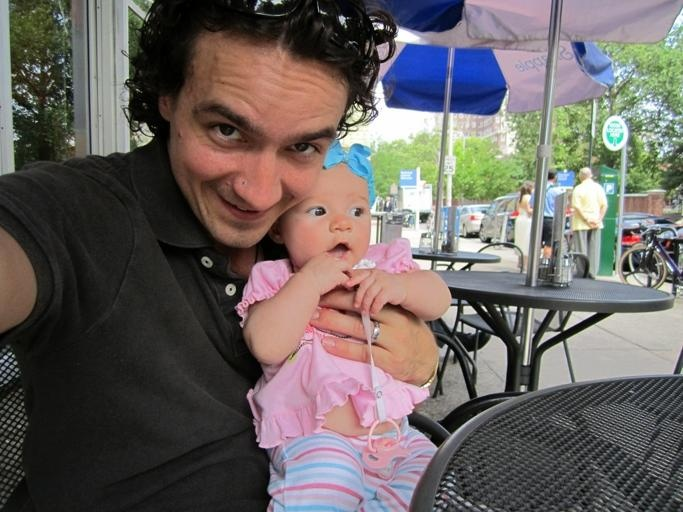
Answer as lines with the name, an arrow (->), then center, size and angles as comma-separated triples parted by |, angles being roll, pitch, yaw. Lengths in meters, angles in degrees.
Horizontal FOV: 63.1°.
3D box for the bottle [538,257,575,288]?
bottle -> 1.138, 0.083, 2.947 | 0.177, 0.191, 0.135 | 1, 2, 28
